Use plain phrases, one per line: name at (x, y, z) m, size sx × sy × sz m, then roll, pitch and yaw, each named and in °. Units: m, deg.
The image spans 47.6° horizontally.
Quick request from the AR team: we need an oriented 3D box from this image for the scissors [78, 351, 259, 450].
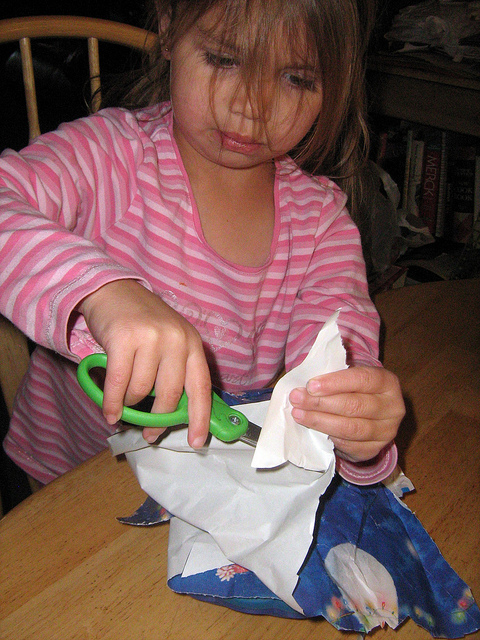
scissors at (-0.057, 0.082, 0.426) m, size 0.126 × 0.013 × 0.071 m, roll 36°, pitch 40°, yaw -7°
